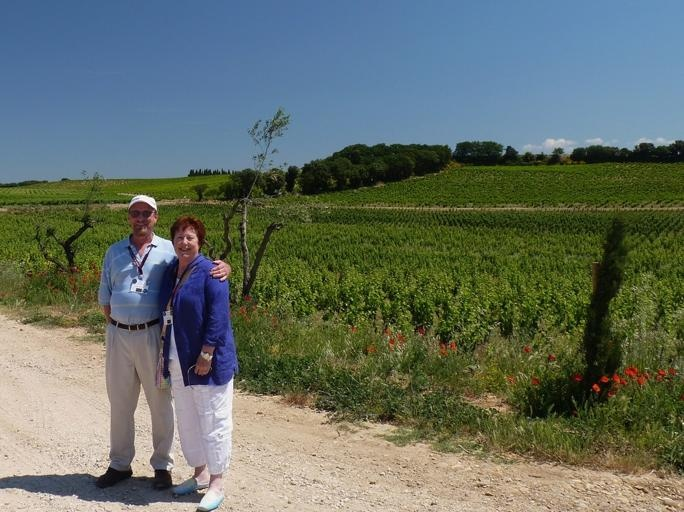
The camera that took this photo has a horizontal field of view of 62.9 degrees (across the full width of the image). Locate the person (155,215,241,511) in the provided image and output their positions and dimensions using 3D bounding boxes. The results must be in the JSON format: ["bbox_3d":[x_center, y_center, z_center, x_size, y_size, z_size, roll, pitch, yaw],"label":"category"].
[{"bbox_3d":[-1.581,1.134,6.218,0.771,2.973,1.259,-7,16,-29],"label":"person"}]

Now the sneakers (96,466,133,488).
[{"bbox_3d":[-2.615,2.530,6.438,0.156,0.169,0.373,-3,-9,38],"label":"sneakers"}]

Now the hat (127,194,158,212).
[{"bbox_3d":[-2.421,-0.656,6.793,0.427,0.237,0.623,0,1,-21],"label":"hat"}]

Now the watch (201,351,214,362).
[{"bbox_3d":[-1.470,1.087,6.080,0.110,0.116,0.109,15,1,-11],"label":"watch"}]

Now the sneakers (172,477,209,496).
[{"bbox_3d":[-1.719,2.600,6.344,0.353,0.151,0.144,9,-5,-28],"label":"sneakers"}]
